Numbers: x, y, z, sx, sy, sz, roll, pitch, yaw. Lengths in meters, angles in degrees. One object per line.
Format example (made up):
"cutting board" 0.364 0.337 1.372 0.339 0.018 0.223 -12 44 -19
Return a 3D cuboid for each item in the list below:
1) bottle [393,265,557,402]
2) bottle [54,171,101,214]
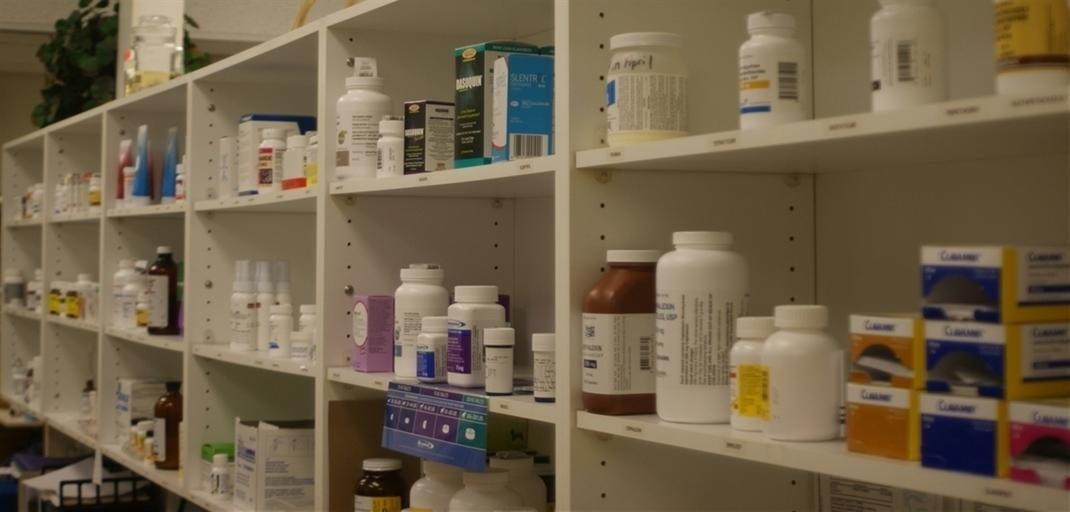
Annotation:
"bottle" -0.322 0.259 3.224 0.227 0.432 0.440 -4 6 -40
"bottle" -2.830 -0.381 5.320 0.109 0.142 0.327 5 -5 -44
